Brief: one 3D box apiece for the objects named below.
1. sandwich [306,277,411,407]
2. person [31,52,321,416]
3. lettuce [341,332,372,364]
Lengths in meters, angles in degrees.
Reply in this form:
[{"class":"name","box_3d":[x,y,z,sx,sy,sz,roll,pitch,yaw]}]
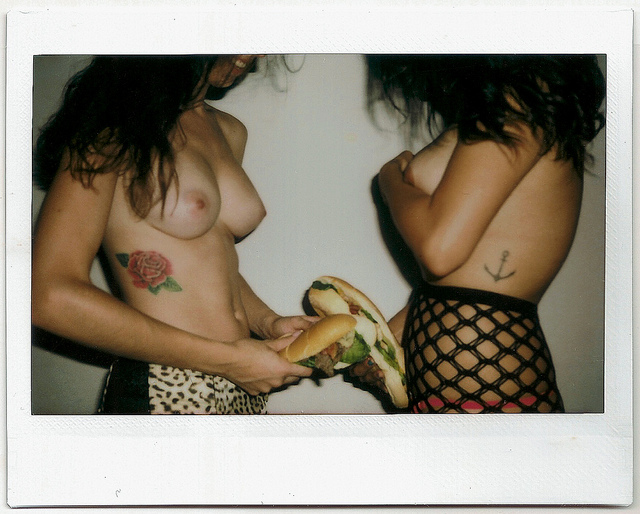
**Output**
[{"class":"sandwich","box_3d":[0.118,0.272,2.006,0.080,0.360,0.110,-25,48,6]},{"class":"person","box_3d":[-0.428,-0.143,2.374,0.792,1.313,0.732,2,8,17]},{"class":"lettuce","box_3d":[0.095,0.239,1.924,0.076,0.066,0.041,-1,29,1]}]
